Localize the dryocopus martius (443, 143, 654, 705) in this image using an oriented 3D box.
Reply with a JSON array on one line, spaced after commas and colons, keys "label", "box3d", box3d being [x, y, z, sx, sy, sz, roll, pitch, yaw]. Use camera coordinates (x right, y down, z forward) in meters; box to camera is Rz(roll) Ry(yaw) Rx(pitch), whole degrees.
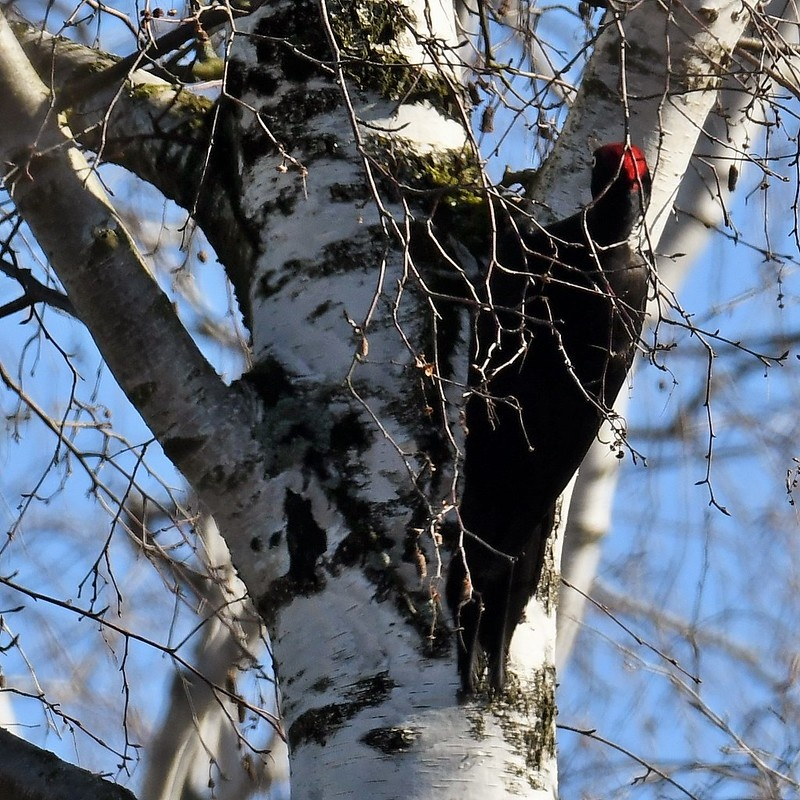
[{"label": "dryocopus martius", "box3d": [0.475, -0.151, 6.899, 0.536, 1.902, 0.953, 7, -51, 1]}]
